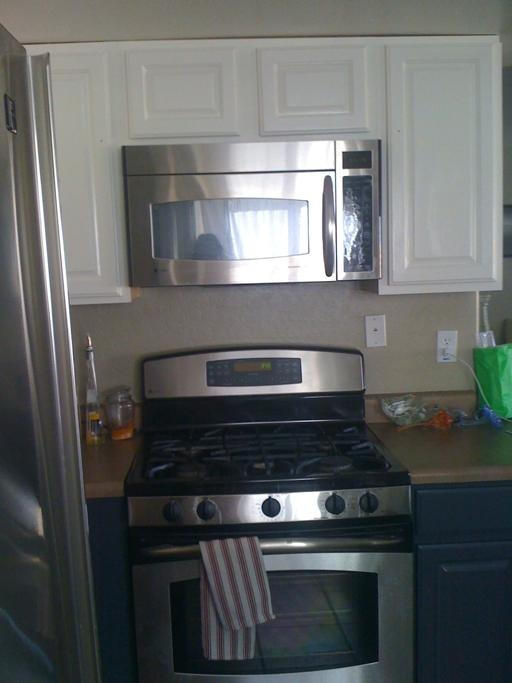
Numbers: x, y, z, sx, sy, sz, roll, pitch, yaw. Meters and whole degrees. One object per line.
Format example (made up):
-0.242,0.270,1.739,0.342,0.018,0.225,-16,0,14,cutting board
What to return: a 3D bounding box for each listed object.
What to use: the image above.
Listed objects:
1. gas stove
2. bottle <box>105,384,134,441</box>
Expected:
0.018,0.343,1.814,0.703,0.127,0.509,-2,9,-2,gas stove
-0.414,0.226,2.013,0.093,0.142,0.081,-8,11,-32,bottle
